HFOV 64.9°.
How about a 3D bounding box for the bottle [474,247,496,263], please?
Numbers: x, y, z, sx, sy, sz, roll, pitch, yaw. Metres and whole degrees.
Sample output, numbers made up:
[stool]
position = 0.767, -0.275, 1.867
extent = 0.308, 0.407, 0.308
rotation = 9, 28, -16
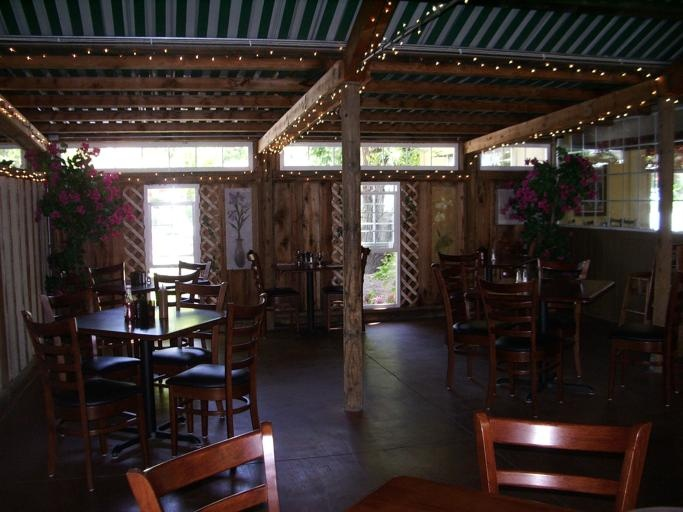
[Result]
[bottle]
position = 1.874, -0.013, 6.989
extent = 0.236, 0.220, 0.233
rotation = 1, 4, 3

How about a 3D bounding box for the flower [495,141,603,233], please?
[flower]
position = 2.589, -0.857, 6.649
extent = 1.017, 0.984, 0.350
rotation = -3, 4, 23

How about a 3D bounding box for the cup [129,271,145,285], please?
[cup]
position = -2.207, 0.236, 5.644
extent = 0.254, 0.136, 0.139
rotation = 0, -4, 38
